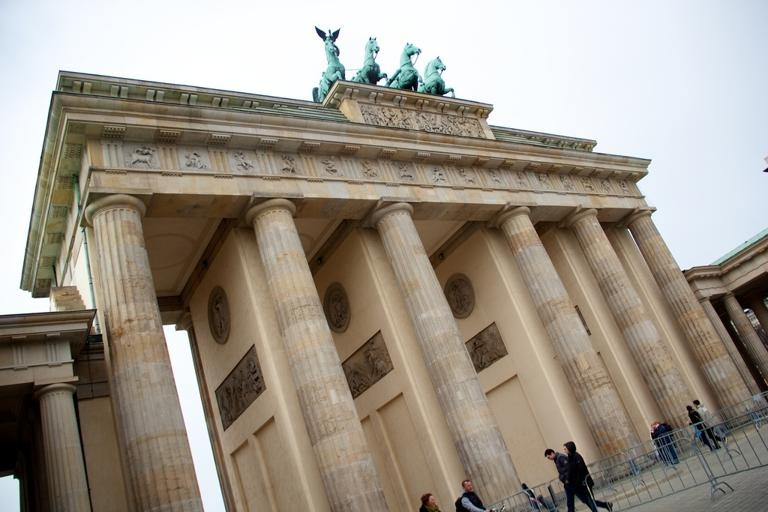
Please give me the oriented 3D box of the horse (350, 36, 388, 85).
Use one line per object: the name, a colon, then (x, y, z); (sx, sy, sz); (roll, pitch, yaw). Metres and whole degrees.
horse: (-0.751, -9.742, 23.952); (0.987, 3.422, 2.394); (-5, -72, -17)
